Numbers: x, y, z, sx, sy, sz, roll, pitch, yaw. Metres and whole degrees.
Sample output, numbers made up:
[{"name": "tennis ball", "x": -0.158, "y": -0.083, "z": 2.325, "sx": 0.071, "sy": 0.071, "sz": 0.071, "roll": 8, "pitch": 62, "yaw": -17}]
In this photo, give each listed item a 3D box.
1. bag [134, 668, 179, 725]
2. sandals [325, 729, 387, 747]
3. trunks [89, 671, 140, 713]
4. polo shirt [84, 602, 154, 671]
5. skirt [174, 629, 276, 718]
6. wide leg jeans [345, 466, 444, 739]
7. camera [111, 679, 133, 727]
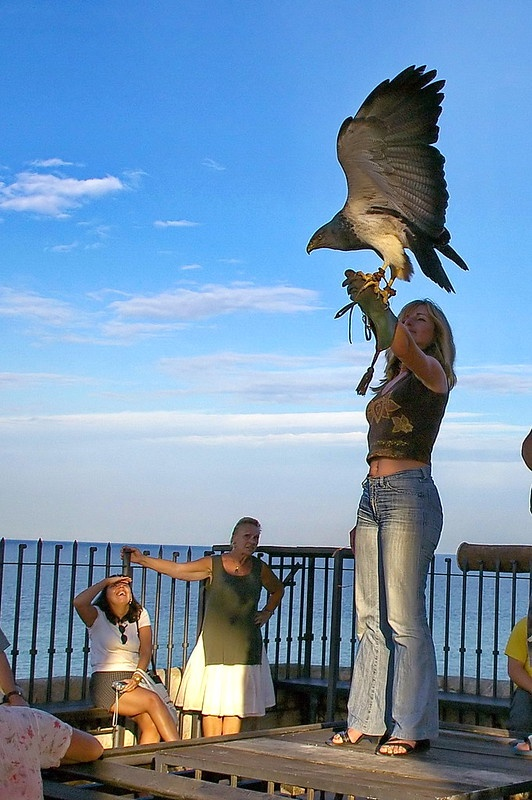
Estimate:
[{"name": "bag", "x": -0.656, "y": 1.788, "z": 6.244, "sx": 0.249, "sy": 0.306, "sz": 0.422, "roll": 0, "pitch": -9, "yaw": 0}, {"name": "sandals", "x": 0.362, "y": 1.337, "z": 4.077, "sx": 0.227, "sy": 0.061, "sz": 0.078, "roll": 7, "pitch": -19, "yaw": -4}, {"name": "trunks", "x": -0.914, "y": 1.764, "z": 6.231, "sx": 0.221, "sy": 0.254, "sz": 0.274, "roll": -4, "pitch": 19, "yaw": -9}, {"name": "polo shirt", "x": -0.908, "y": 1.461, "z": 6.381, "sx": 0.463, "sy": 0.431, "sz": 0.247, "roll": 21, "pitch": -44, "yaw": -30}, {"name": "skirt", "x": -0.254, "y": 1.746, "z": 6.555, "sx": 0.744, "sy": 0.658, "sz": 0.500, "roll": 5, "pitch": -36, "yaw": -2}, {"name": "wide leg jeans", "x": 0.517, "y": 0.799, "z": 4.086, "sx": 0.263, "sy": 1.044, "sz": 0.412, "roll": 6, "pitch": -12, "yaw": -31}, {"name": "camera", "x": -0.863, "y": 1.768, "z": 6.038, "sx": 0.099, "sy": 0.246, "sz": 0.150, "roll": 18, "pitch": -13, "yaw": -40}]
